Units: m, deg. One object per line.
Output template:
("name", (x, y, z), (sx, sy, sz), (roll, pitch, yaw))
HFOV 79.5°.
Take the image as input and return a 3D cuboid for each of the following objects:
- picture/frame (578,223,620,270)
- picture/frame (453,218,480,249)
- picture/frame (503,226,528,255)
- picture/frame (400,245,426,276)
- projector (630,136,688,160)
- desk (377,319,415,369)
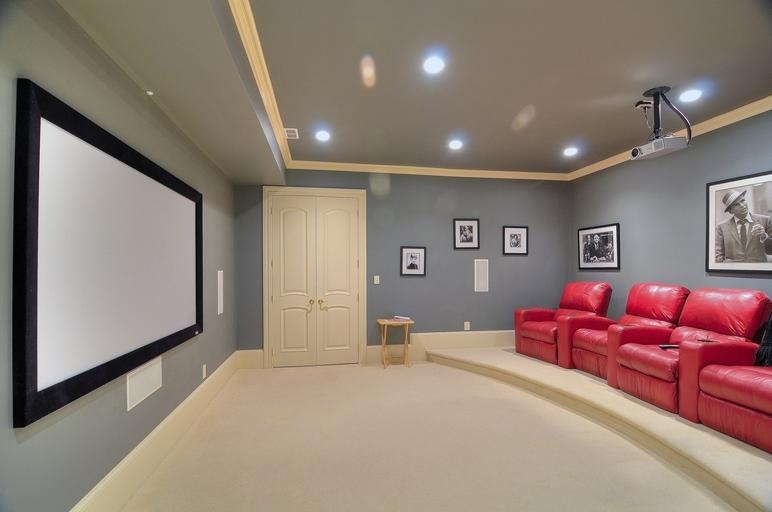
("picture/frame", (3.039, -0.135, 6.515), (0.040, 0.646, 0.615), (-1, -3, -23))
("picture/frame", (1.173, -0.325, 6.832), (0.405, 0.483, 0.032), (-2, 1, -9))
("picture/frame", (1.942, -0.235, 6.972), (0.393, 0.455, 0.044), (-1, 2, -6))
("picture/frame", (0.368, 0.078, 6.666), (0.408, 0.464, 0.033), (0, -4, -14))
("projector", (2.803, -1.099, 4.712), (0.474, 0.202, 0.279), (7, 14, 34))
("desk", (0.128, 1.207, 6.442), (0.470, 0.604, 0.536), (1, -5, 0))
